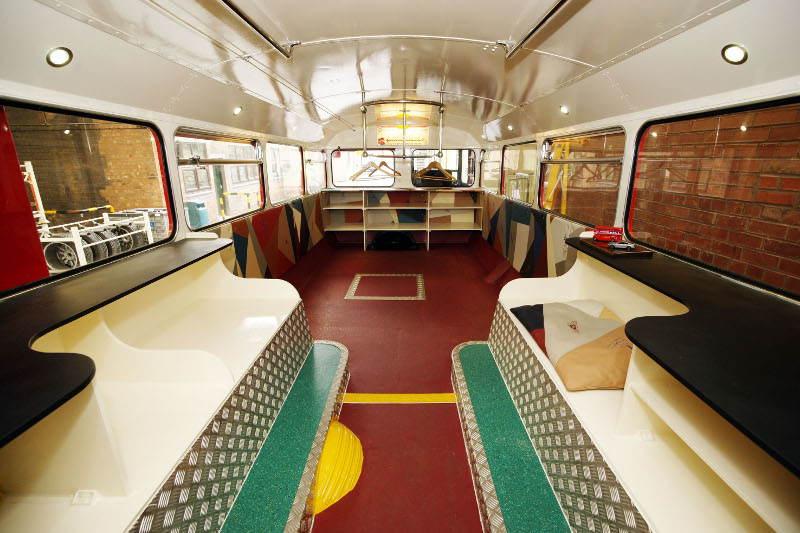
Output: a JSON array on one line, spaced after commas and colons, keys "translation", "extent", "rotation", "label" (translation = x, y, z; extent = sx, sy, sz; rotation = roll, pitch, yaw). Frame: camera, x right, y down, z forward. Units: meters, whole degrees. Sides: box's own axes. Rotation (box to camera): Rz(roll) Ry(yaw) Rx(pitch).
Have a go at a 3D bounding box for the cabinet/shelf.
[{"translation": [0.000, -0.838, 8.548], "extent": [2.844, 1.162, 0.649], "rotation": [1, 8, 3], "label": "cabinet/shelf"}]
